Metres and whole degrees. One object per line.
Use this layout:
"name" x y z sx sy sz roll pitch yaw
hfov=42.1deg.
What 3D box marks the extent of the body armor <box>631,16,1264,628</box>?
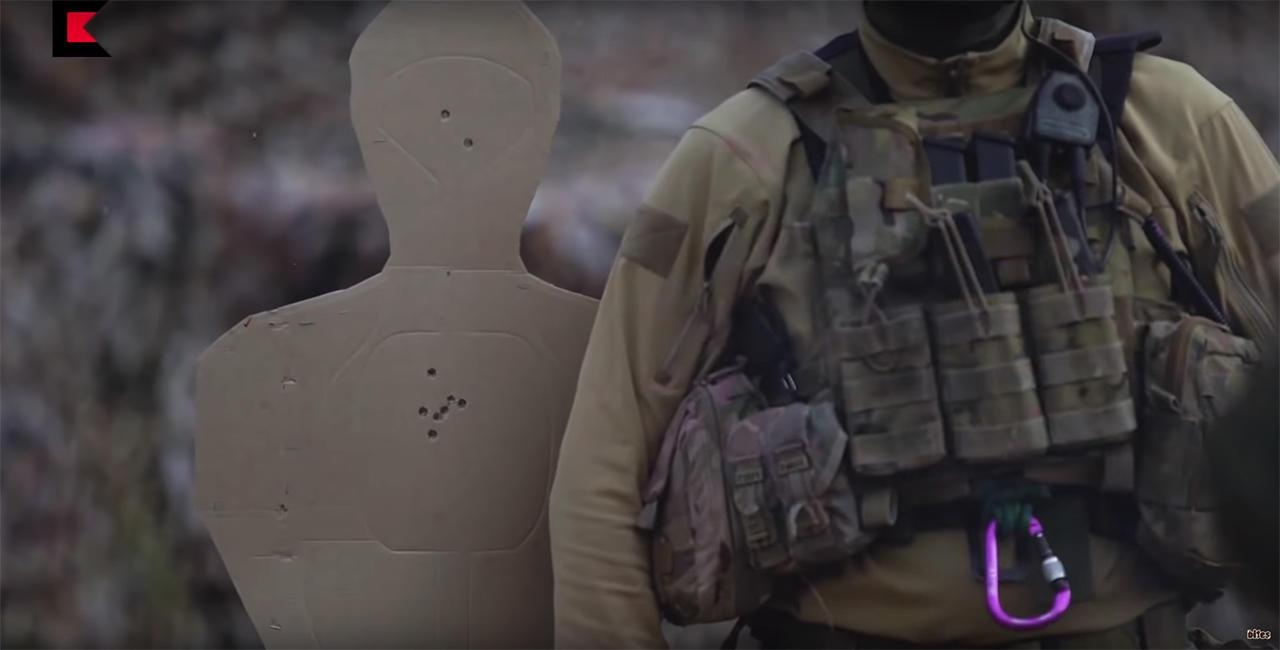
"body armor" 1.150 0.002 6.185 2.190 2.203 0.394 -2 -10 2
